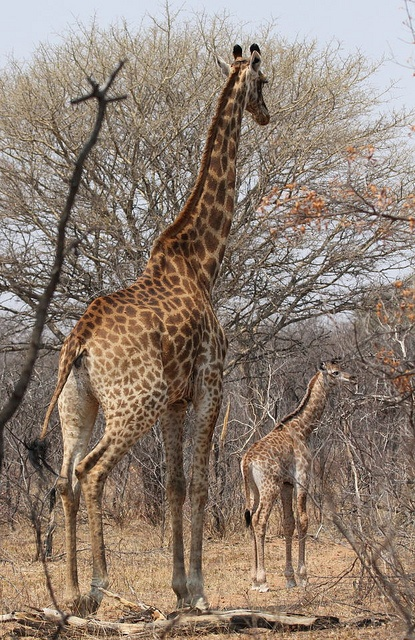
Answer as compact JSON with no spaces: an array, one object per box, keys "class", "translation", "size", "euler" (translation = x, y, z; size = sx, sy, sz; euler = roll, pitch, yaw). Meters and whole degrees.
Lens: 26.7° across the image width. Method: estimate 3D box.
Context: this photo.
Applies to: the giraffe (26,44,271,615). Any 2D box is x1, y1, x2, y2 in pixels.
[{"class":"giraffe","translation":[-0.484,-0.128,7.677],"size":[0.858,5.124,2.223],"euler":[-9,-12,31]}]
